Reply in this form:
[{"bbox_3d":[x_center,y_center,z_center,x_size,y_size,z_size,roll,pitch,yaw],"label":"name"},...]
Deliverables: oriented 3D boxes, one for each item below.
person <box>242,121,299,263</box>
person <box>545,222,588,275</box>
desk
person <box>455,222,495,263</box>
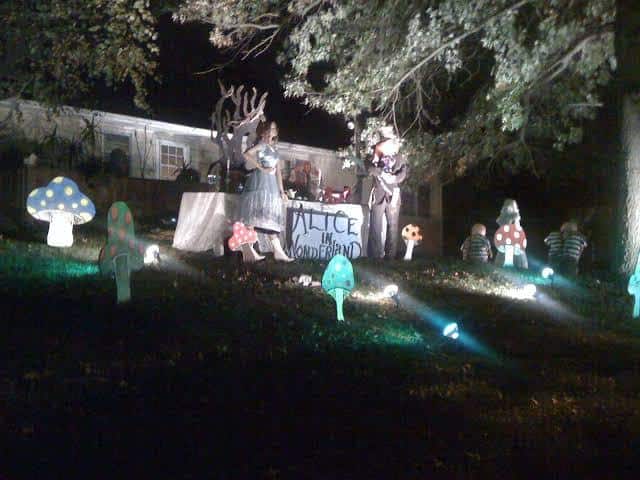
[{"bbox_3d":[-1.007,-0.930,9.998,0.940,2.020,0.584,4,2,-25],"label":"person"},{"bbox_3d":[5.399,0.150,11.771,0.748,1.251,0.779,6,2,24],"label":"person"},{"bbox_3d":[-1.069,0.019,11.400,3.232,1.036,1.844,12,-6,-35],"label":"desk"},{"bbox_3d":[3.684,0.148,12.570,0.569,1.155,0.712,5,-4,-15],"label":"person"}]
